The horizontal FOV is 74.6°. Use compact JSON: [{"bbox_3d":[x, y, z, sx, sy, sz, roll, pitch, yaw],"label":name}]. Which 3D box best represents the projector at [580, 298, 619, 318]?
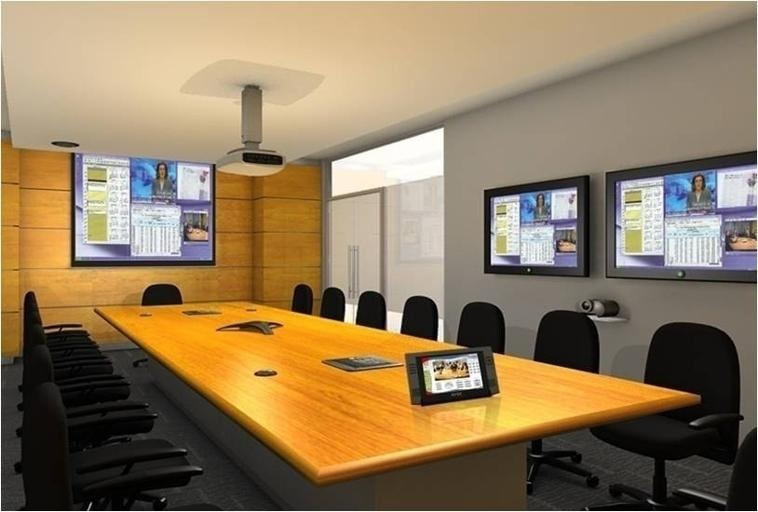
[{"bbox_3d":[2.442,0.522,5.494,0.296,0.164,0.307,-1,1,-29],"label":"projector"}]

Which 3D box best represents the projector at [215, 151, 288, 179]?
[{"bbox_3d":[-1.531,-1.065,5.801,0.463,0.132,0.423,-1,1,-28],"label":"projector"}]
